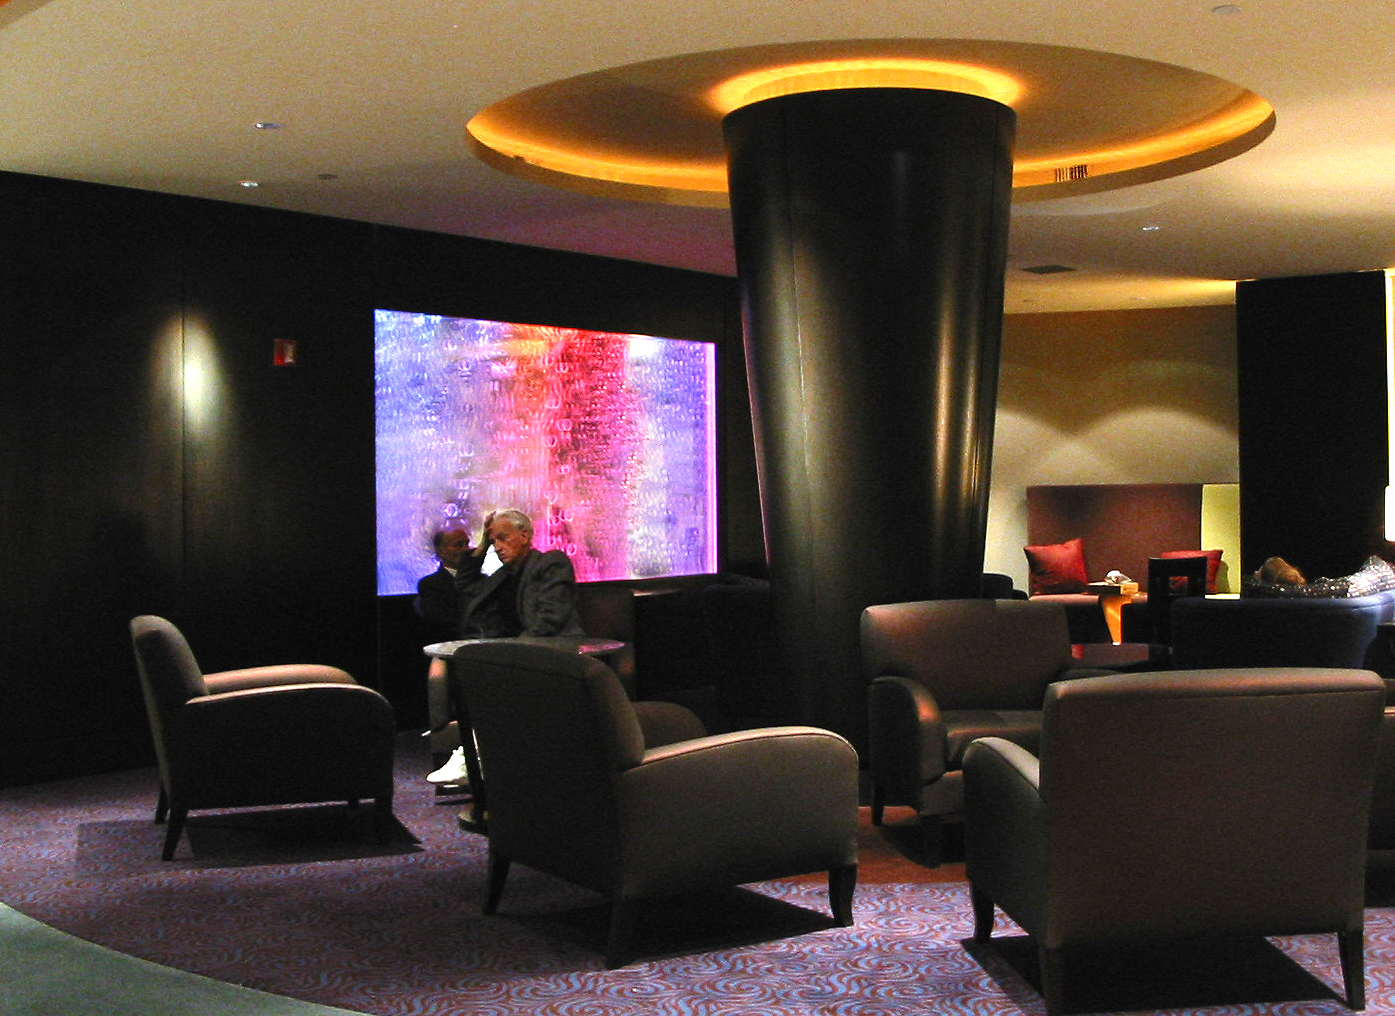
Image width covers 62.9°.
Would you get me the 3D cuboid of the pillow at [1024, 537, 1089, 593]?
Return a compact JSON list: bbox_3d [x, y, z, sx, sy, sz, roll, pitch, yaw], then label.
[{"bbox_3d":[3.711,0.572,11.642,0.534,0.507,0.282,-2,-15,9],"label":"pillow"}]
